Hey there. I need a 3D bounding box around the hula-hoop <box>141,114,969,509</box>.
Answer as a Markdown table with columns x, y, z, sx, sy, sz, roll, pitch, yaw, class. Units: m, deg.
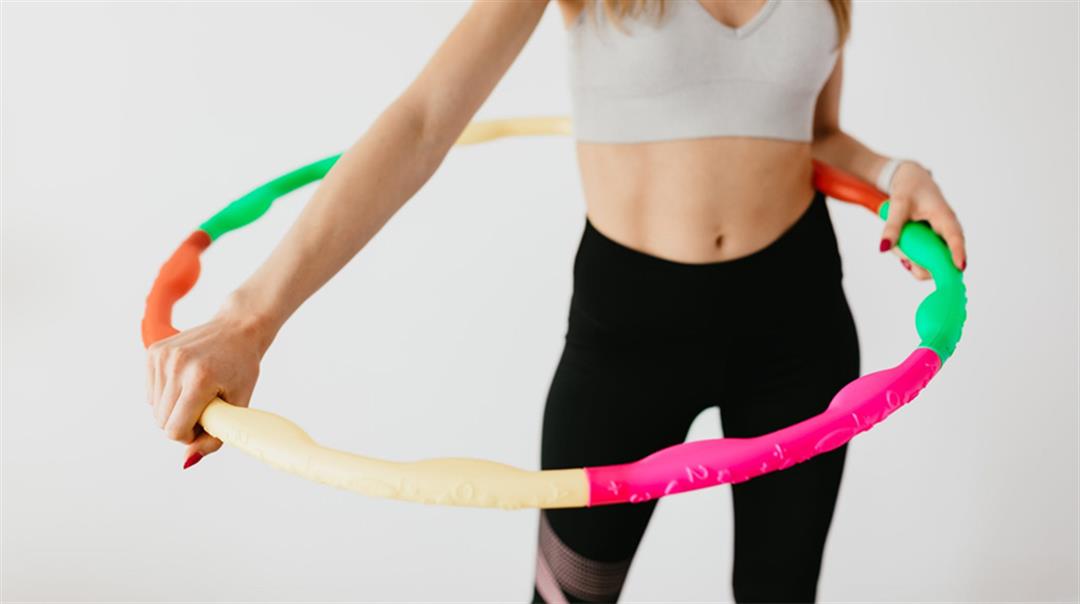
| x | y | z | sx | sy | sz | roll | pitch | yaw | class |
| --- | --- | --- | --- | --- | --- | --- | --- | --- | --- |
| -0.051 | 0.017 | 2.577 | 2.053 | 1.069 | 1.306 | 0 | -5 | 28 | hula-hoop |
